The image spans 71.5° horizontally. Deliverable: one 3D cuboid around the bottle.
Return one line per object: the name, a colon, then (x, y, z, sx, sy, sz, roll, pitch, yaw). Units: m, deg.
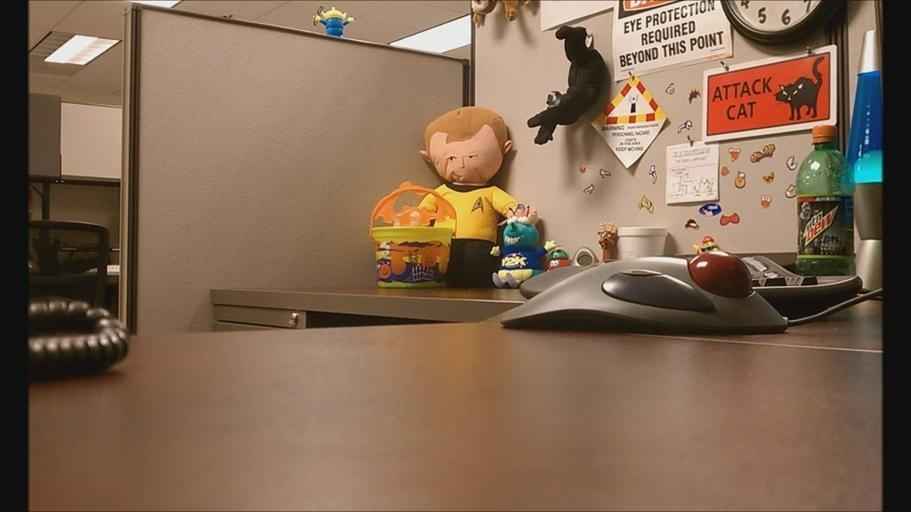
bottle: (0.594, -0.092, 1.020, 0.081, 0.247, 0.119, 0, -2, 30)

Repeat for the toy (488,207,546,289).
toy: (0.157, -0.020, 1.583, 0.170, 0.172, 0.119, -16, -32, 32)

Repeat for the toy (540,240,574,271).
toy: (0.234, -0.001, 1.582, 0.108, 0.066, 0.069, -4, 2, -2)

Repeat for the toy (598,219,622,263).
toy: (0.375, -0.037, 1.556, 0.048, 0.092, 0.115, 1, -2, 12)

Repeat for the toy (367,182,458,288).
toy: (-0.114, -0.054, 1.786, 0.300, 0.333, 0.287, 0, 0, -7)

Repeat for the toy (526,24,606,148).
toy: (0.267, -0.424, 1.618, 0.181, 0.261, 0.169, 3, -3, -44)
